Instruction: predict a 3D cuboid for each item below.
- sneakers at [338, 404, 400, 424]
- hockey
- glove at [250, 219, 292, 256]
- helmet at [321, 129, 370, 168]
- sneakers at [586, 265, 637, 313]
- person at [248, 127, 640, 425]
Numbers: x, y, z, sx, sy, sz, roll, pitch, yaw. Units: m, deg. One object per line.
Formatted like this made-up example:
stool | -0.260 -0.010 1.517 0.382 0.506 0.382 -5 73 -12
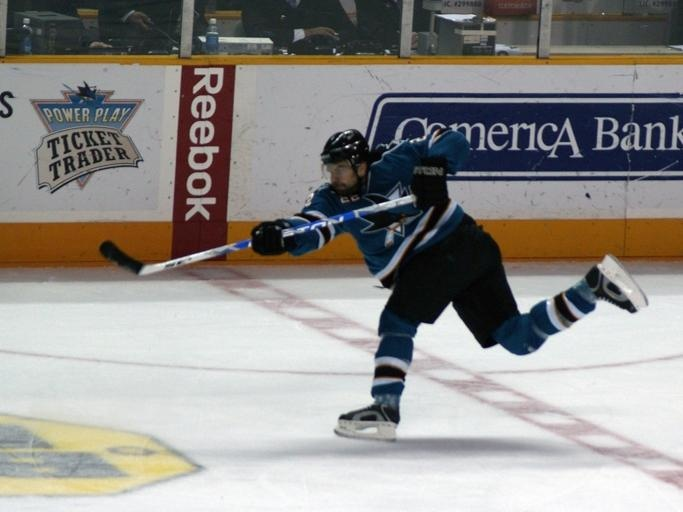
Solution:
sneakers | 0.134 0.640 4.015 0.270 0.081 0.087 4 -13 7
hockey | -0.590 -0.137 5.560 2.041 0.253 0.079 -13 -14 1
glove | -0.287 -0.079 3.950 0.148 0.127 0.178 1 14 0
helmet | 0.026 -0.445 4.103 0.196 0.157 0.142 5 -14 -18
sneakers | 1.120 0.139 4.112 0.104 0.289 0.121 36 -26 -5
person | 0.452 0.082 4.141 2.026 1.256 0.688 0 -17 -21
